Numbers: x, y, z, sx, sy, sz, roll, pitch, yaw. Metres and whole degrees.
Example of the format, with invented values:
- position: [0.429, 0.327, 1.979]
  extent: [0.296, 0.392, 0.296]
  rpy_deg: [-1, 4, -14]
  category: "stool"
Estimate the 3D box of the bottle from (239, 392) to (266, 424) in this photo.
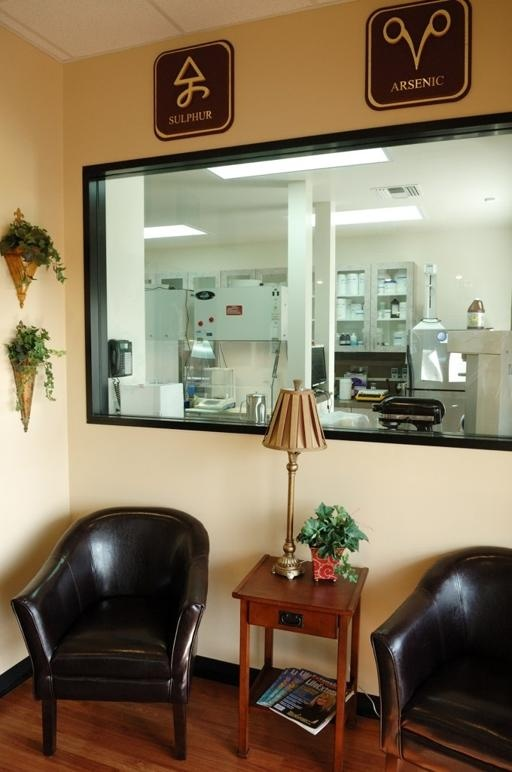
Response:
- position: [-0.002, 0.088, 2.320]
  extent: [0.120, 0.134, 0.075]
  rpy_deg: [-1, 3, 7]
  category: "bottle"

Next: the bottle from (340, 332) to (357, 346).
- position: [0.328, -0.169, 2.099]
  extent: [0.065, 0.043, 0.007]
  rpy_deg: [2, 3, 26]
  category: "bottle"

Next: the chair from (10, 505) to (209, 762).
- position: [-0.425, 0.787, 2.149]
  extent: [0.632, 0.773, 0.690]
  rpy_deg: [0, 0, 3]
  category: "chair"

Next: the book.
- position: [0.166, 1.063, 2.021]
  extent: [0.226, 0.058, 0.234]
  rpy_deg: [7, 15, 40]
  category: "book"

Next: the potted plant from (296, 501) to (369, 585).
- position: [0.259, 0.493, 1.976]
  extent: [0.230, 0.241, 0.245]
  rpy_deg: [0, 5, 9]
  category: "potted plant"

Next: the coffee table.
- position: [0.139, 0.919, 2.021]
  extent: [0.472, 0.574, 0.512]
  rpy_deg: [1, 3, 12]
  category: "coffee table"

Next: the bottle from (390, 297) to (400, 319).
- position: [0.482, -0.269, 2.034]
  extent: [0.031, 0.070, 0.009]
  rpy_deg: [1, 3, 16]
  category: "bottle"

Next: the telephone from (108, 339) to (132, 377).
- position: [-0.609, -0.126, 2.656]
  extent: [0.128, 0.174, 0.039]
  rpy_deg: [2, 3, 27]
  category: "telephone"
